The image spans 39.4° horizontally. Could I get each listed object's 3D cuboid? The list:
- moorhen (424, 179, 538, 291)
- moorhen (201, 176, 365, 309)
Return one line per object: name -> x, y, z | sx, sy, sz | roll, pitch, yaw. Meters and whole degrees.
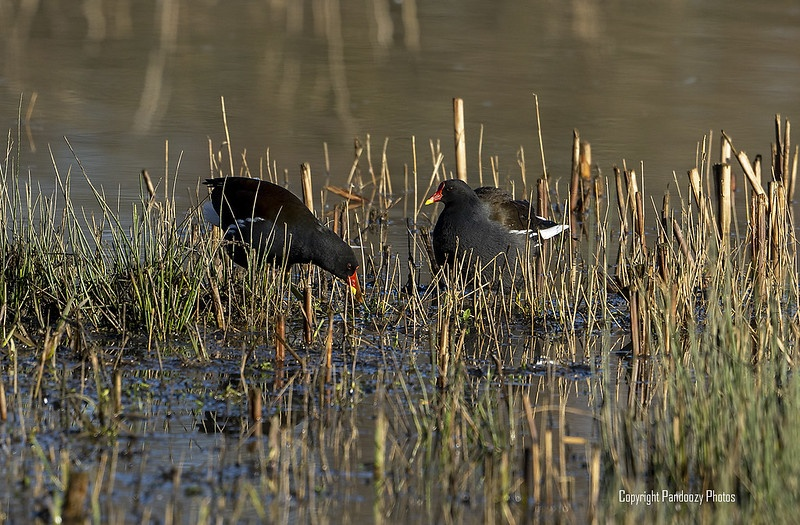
moorhen -> 0.747, -0.248, 10.958 | 0.950, 0.873, 1.176 | 5, 31, 2
moorhen -> -1.181, -0.315, 10.551 | 1.755, 0.860, 0.946 | 15, 33, 17
